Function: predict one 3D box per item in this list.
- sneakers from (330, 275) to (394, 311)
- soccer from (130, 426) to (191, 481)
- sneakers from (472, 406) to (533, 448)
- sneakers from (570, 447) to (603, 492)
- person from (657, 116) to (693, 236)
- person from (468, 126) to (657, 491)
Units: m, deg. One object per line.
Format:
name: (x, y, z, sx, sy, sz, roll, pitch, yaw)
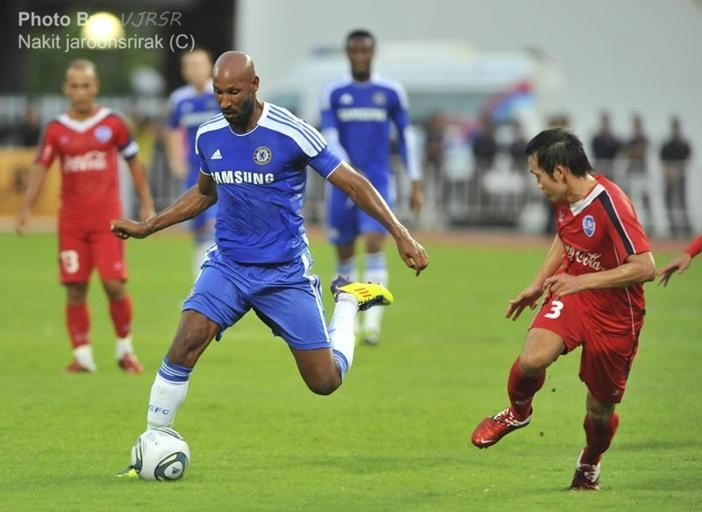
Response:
sneakers: (0.105, 0.315, 8.303, 0.596, 0.296, 0.222, 8, -30, 0)
soccer: (-1.318, 1.350, 7.055, 0.383, 0.317, 0.291, -10, 32, -20)
sneakers: (1.155, 1.305, 7.672, 0.461, 0.165, 0.223, -27, -8, 3)
sneakers: (1.638, 1.465, 7.066, 0.199, 0.247, 0.318, 2, 8, 14)
person: (7.036, -1.536, 21.906, 0.771, 2.184, 0.331, 1, 8, 3)
person: (1.579, 0.337, 7.152, 1.069, 2.451, 0.737, 3, 8, 16)
